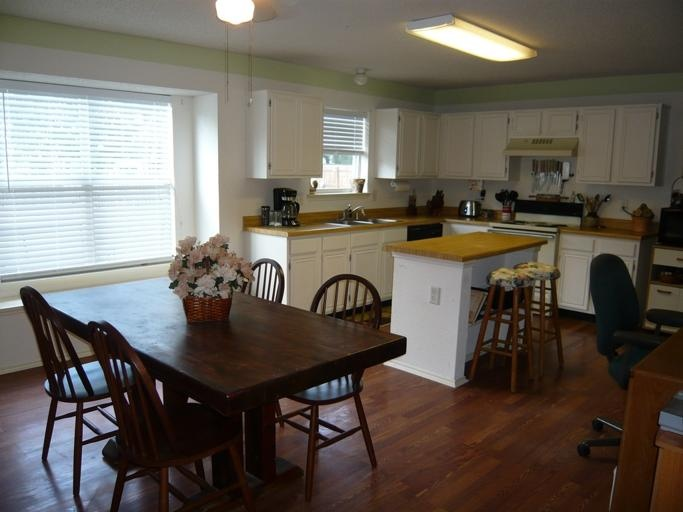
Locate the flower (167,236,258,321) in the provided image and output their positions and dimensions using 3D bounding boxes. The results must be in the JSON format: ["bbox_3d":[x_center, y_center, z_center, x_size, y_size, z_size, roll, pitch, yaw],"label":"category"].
[{"bbox_3d":[-0.825,0.107,3.192,0.524,0.536,0.496,0,3,-22],"label":"flower"}]

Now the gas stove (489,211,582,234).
[{"bbox_3d":[2.456,-0.423,6.482,1.023,0.190,0.726,5,10,34],"label":"gas stove"}]

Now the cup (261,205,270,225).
[{"bbox_3d":[-0.853,-0.453,5.708,0.097,0.216,0.160,-1,9,1],"label":"cup"}]

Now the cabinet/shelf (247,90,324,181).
[{"bbox_3d":[-0.636,-1.311,5.497,0.484,0.933,0.954,5,7,42],"label":"cabinet/shelf"}]

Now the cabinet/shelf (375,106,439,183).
[{"bbox_3d":[0.864,-1.516,6.890,0.375,0.897,1.006,5,8,41],"label":"cabinet/shelf"}]

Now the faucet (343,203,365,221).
[{"bbox_3d":[0.159,-0.556,6.647,0.151,0.210,0.330,-4,4,-32],"label":"faucet"}]

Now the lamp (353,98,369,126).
[{"bbox_3d":[0.243,-1.912,6.641,0.098,0.333,0.395,6,11,36],"label":"lamp"}]

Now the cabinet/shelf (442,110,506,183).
[{"bbox_3d":[1.838,-1.520,6.981,0.932,0.892,0.329,8,10,44],"label":"cabinet/shelf"}]

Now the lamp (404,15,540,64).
[{"bbox_3d":[1.172,-1.858,4.412,0.450,0.109,1.042,3,-2,44],"label":"lamp"}]
